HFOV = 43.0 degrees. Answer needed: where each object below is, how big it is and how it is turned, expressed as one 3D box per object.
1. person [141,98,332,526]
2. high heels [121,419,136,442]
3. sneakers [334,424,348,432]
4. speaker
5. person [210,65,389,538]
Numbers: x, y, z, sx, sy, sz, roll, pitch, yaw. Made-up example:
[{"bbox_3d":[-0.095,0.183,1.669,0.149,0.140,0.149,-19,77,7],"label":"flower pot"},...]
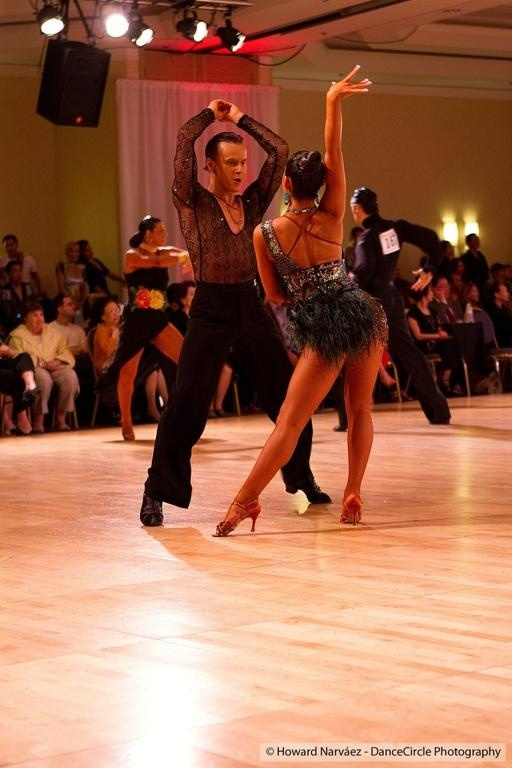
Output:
[{"bbox_3d":[-0.113,-0.329,3.368,1.032,2.043,0.414,-3,22,-8],"label":"person"},{"bbox_3d":[-1.367,0.503,6.941,0.120,0.197,0.176,-1,4,-11],"label":"high heels"},{"bbox_3d":[0.934,0.489,7.043,0.137,0.089,0.060,4,-4,-1],"label":"sneakers"},{"bbox_3d":[-2.362,-3.845,8.327,0.866,0.994,0.466,-1,4,-19],"label":"speaker"},{"bbox_3d":[0.244,-0.363,3.028,0.778,2.140,0.341,0,4,-1],"label":"person"}]
